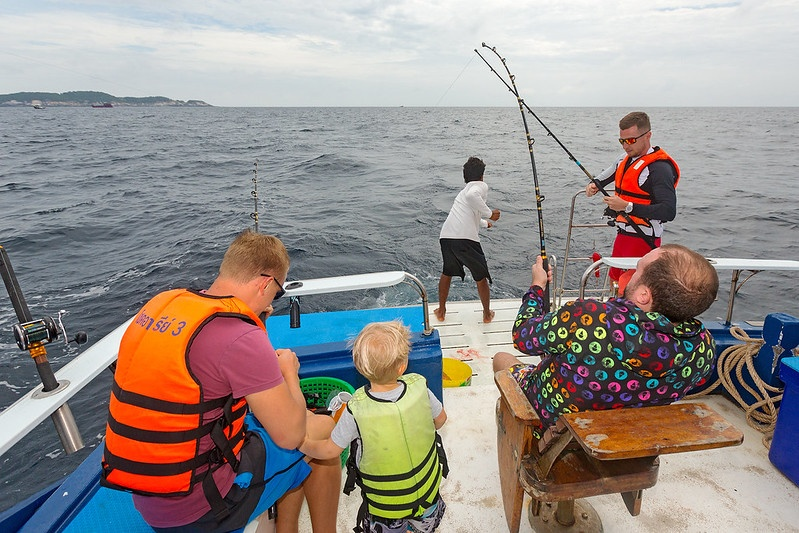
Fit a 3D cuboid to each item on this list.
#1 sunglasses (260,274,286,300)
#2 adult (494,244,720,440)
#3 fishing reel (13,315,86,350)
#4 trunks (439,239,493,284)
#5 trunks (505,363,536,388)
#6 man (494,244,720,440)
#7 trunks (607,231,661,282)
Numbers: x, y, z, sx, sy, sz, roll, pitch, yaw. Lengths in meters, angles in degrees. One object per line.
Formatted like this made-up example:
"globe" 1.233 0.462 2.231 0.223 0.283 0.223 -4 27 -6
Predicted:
"sunglasses" -0.783 0.117 3.321 0.158 0.156 0.048 -14 21 48
"adult" 1.289 0.538 3.223 1.162 1.323 0.666 9 23 26
"fishing reel" -2.427 0.456 3.578 0.344 0.138 0.196 -9 -2 -27
"trunks" 0.810 -0.088 6.308 0.746 0.563 0.417 5 11 43
"trunks" 0.869 0.773 3.701 0.125 0.070 0.188 15 40 38
"man" 1.289 0.538 3.223 1.162 1.323 0.666 9 23 25
"trunks" 2.042 -0.090 4.495 0.371 0.547 0.425 0 18 0
